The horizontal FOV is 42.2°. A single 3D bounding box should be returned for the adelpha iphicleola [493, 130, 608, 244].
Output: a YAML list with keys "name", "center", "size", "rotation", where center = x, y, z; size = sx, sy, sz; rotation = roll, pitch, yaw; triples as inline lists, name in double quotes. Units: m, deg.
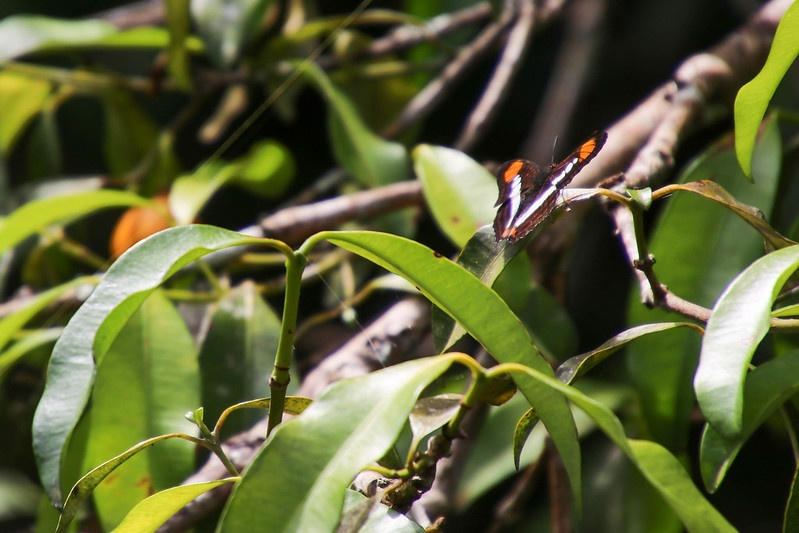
- name: "adelpha iphicleola"
  center: [0.186, -0.096, 1.197]
  size: [0.089, 0.037, 0.138]
  rotation: [-16, -23, -32]
